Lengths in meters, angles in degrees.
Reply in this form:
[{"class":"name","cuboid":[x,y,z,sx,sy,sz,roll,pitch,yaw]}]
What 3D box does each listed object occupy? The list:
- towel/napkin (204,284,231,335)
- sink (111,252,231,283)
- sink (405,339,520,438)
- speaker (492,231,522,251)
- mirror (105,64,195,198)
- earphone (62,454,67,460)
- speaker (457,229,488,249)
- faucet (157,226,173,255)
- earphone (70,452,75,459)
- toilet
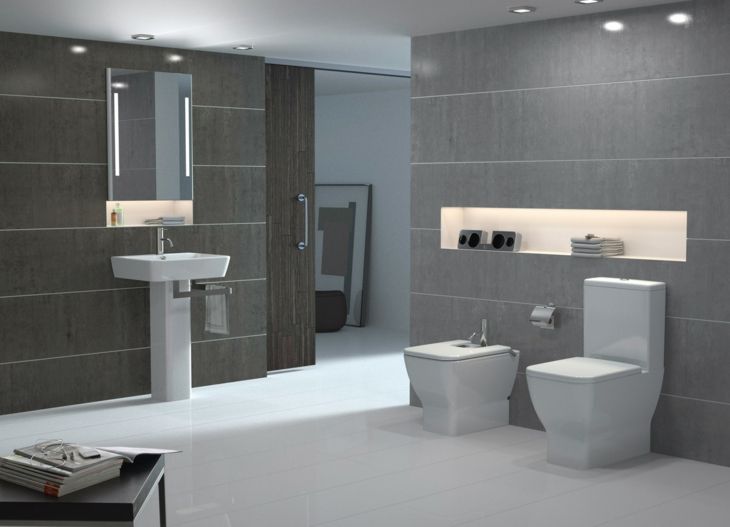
[{"class":"towel/napkin","cuboid":[-1.363,0.449,5.332,0.227,0.523,0.467,-1,4,-15]},{"class":"sink","cuboid":[-1.703,0.046,5.064,0.823,0.230,0.587,-4,5,-44]},{"class":"sink","cuboid":[0.760,0.951,4.345,0.888,0.629,0.318,-2,4,-22]},{"class":"speaker","cuboid":[1.122,-0.170,4.584,0.144,0.195,0.274,0,1,-32]},{"class":"mirror","cuboid":[-1.918,-1.102,5.183,0.756,1.131,0.078,-5,37,-27]},{"class":"earphone","cuboid":[-0.985,0.636,1.898,0.012,0.016,0.016,2,2,4]},{"class":"speaker","cuboid":[0.878,-0.192,4.722,0.271,0.185,0.139,0,0,42]},{"class":"faucet","cuboid":[-1.813,-0.202,5.240,0.148,0.248,0.074,-3,5,-34]},{"class":"earphone","cuboid":[-0.971,0.636,1.910,0.012,0.018,0.006,-4,-5,-2]},{"class":"toilet","cuboid":[1.510,0.700,3.757,0.853,1.164,0.452,-3,5,-35]}]
